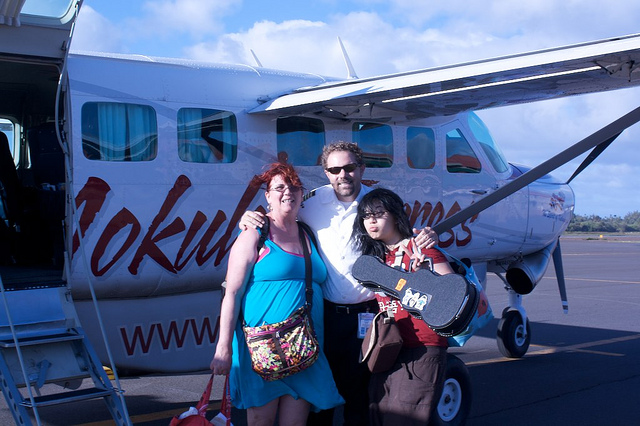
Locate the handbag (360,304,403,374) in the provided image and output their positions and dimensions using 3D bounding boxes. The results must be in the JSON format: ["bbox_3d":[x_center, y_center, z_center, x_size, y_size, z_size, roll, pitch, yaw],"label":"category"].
[{"bbox_3d":[0.464,1.059,4.352,0.312,0.608,0.629,-1,8,-12],"label":"handbag"}]

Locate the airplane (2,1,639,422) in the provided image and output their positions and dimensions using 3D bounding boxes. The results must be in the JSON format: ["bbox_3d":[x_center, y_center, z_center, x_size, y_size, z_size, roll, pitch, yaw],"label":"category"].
[{"bbox_3d":[-0.402,-0.343,6.716,5.781,3.062,5.936,-1,2,-36],"label":"airplane"}]

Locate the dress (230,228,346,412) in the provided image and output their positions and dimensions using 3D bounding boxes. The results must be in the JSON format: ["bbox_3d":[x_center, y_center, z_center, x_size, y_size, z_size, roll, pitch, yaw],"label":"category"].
[{"bbox_3d":[-0.330,0.876,4.355,0.807,1.555,0.956,0,12,-12],"label":"dress"}]

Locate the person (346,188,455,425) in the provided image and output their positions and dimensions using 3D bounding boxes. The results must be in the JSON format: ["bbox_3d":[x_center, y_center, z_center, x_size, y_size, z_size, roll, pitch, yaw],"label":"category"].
[{"bbox_3d":[0.658,0.842,4.195,0.855,2.083,0.597,-1,2,14],"label":"person"}]
